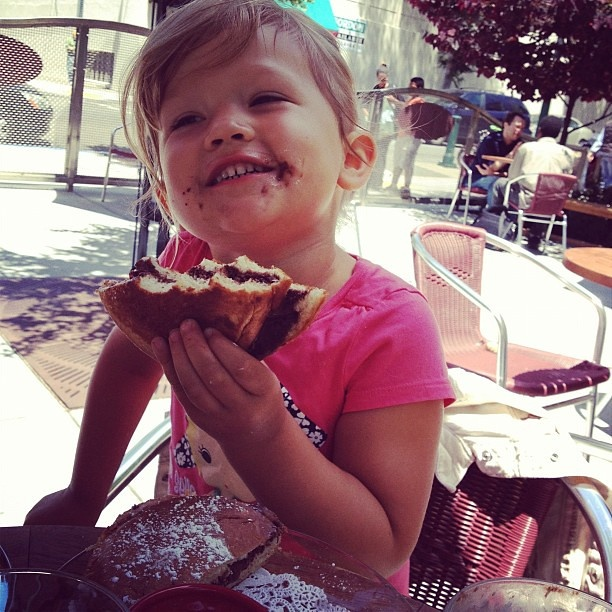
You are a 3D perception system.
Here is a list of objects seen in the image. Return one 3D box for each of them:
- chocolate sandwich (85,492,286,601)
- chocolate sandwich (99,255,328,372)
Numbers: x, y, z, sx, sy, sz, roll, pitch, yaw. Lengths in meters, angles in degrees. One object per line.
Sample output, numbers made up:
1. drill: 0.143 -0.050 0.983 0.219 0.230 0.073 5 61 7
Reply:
1. chocolate sandwich: -0.146 0.301 0.716 0.241 0.050 0.176 3 12 -20
2. chocolate sandwich: -0.126 0.025 0.755 0.185 0.078 0.196 3 1 -38
